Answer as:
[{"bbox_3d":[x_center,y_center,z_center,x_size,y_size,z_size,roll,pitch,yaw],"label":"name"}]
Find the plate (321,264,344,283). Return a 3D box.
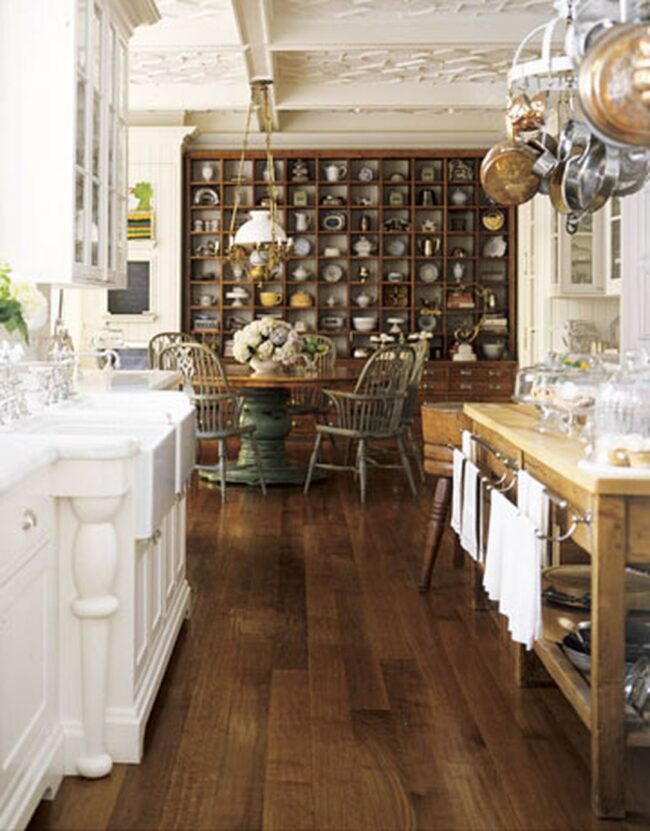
[{"bbox_3d":[0.093,-1.735,8.163,0.242,0.250,0.058,3,2,-4],"label":"plate"}]

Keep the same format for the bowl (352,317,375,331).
[{"bbox_3d":[0.457,-1.090,8.026,0.187,0.118,0.187,-1,0,0],"label":"bowl"}]

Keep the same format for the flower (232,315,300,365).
[{"bbox_3d":[-0.469,-0.607,5.323,0.377,0.368,0.419,0,8,2],"label":"flower"}]

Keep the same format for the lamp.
[{"bbox_3d":[-0.677,-2.328,6.891,0.657,2.164,2.908,1,2,-8],"label":"lamp"}]

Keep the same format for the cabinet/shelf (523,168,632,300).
[{"bbox_3d":[2.254,-1.683,6.293,0.416,1.318,1.393,-6,4,-24],"label":"cabinet/shelf"}]

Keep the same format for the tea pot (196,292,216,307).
[{"bbox_3d":[-1.424,-1.378,8.017,0.196,0.145,0.128,3,2,3],"label":"tea pot"}]

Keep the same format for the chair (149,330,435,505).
[{"bbox_3d":[-0.297,-0.025,5.298,2.068,1.083,1.147,0,5,26],"label":"chair"}]

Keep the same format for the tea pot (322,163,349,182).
[{"bbox_3d":[0.114,-2.932,8.066,0.274,0.320,0.247,1,2,-3],"label":"tea pot"}]

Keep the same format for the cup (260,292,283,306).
[{"bbox_3d":[-0.651,-1.373,7.980,0.212,0.154,0.172,2,0,7],"label":"cup"}]

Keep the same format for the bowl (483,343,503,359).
[{"bbox_3d":[2.048,-0.792,8.168,0.190,0.144,0.193,1,4,0],"label":"bowl"}]
